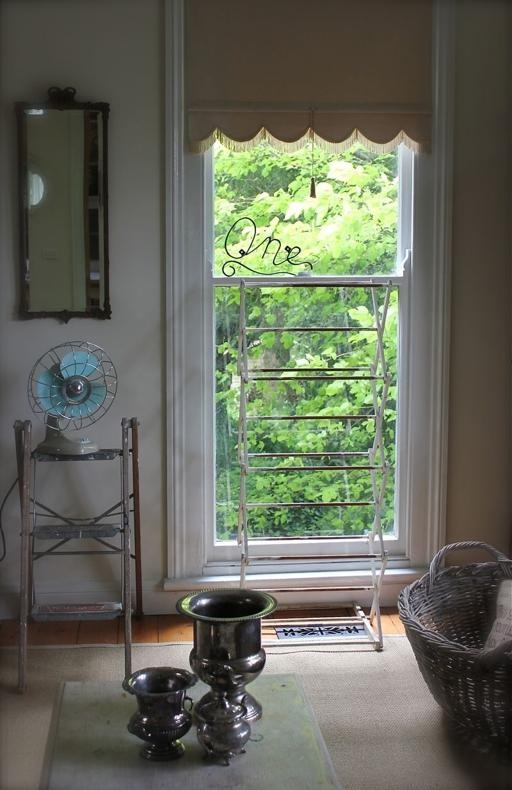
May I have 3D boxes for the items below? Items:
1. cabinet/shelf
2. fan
[{"bbox_3d":[0.203,0.196,2.814,0.579,1.251,0.530,2,7,7],"label":"cabinet/shelf"},{"bbox_3d":[-0.615,0.001,2.624,0.312,0.359,0.395,-1,7,-15],"label":"fan"}]
